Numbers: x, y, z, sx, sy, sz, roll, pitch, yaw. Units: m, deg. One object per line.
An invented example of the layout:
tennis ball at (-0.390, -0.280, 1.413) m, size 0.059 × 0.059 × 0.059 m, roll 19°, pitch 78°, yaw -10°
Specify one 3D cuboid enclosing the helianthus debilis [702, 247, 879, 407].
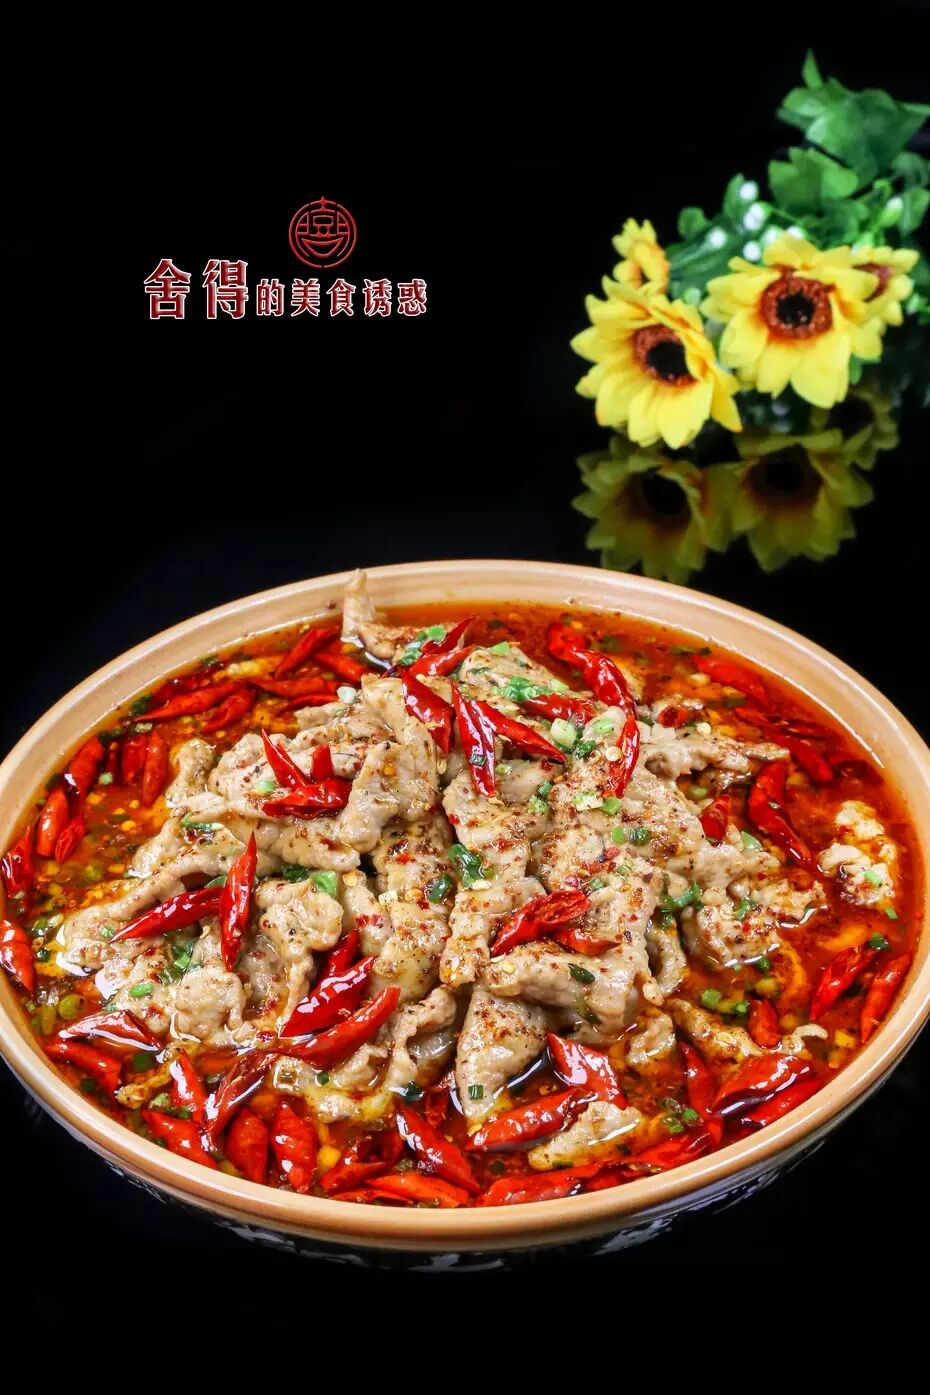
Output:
helianthus debilis at (1.287, -1.510, 4.996) m, size 0.718 × 0.656 × 0.292 m, roll 16°, pitch 57°, yaw 10°
